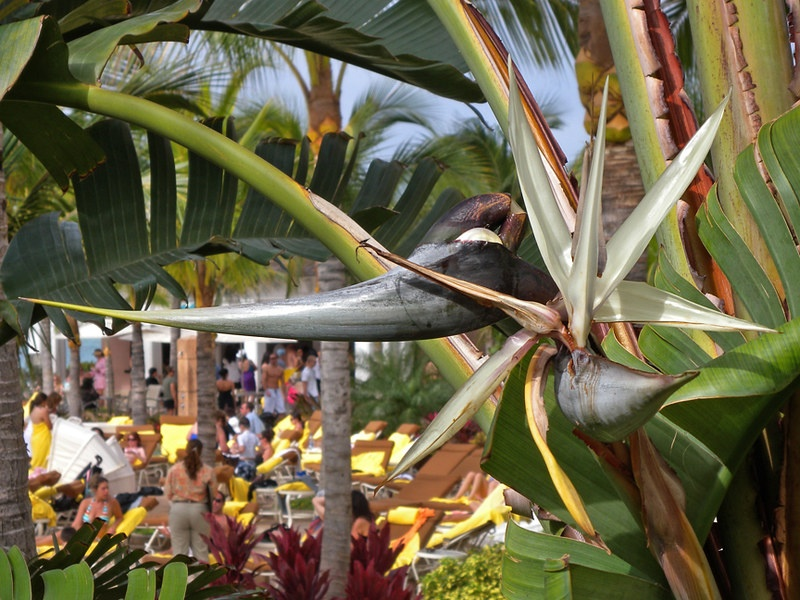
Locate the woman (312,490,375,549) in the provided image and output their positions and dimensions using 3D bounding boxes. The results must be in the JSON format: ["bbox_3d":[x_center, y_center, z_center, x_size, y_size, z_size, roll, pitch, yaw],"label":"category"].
[{"bbox_3d":[-0.453,1.648,9.631,0.545,0.522,0.245,-9,-11,-6],"label":"woman"}]

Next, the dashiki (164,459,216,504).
[{"bbox_3d":[-1.776,1.542,10.896,0.415,0.486,0.276,4,21,-12],"label":"dashiki"}]

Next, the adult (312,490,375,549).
[{"bbox_3d":[-0.461,1.651,9.597,0.545,0.522,0.245,-9,-11,-6],"label":"adult"}]

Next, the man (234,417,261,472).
[{"bbox_3d":[-1.913,1.985,15.958,0.253,0.975,0.307,9,10,41],"label":"man"}]

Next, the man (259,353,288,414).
[{"bbox_3d":[-2.114,1.633,21.857,0.352,1.446,0.374,-2,-6,-9],"label":"man"}]

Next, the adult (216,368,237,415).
[{"bbox_3d":[-3.023,1.683,22.375,0.302,1.218,0.320,-3,30,-7],"label":"adult"}]

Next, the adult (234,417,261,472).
[{"bbox_3d":[-1.908,1.987,15.930,0.229,0.974,0.303,5,5,36],"label":"adult"}]

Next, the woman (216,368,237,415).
[{"bbox_3d":[-3.024,1.686,22.363,0.300,1.211,0.319,-5,30,-10],"label":"woman"}]
